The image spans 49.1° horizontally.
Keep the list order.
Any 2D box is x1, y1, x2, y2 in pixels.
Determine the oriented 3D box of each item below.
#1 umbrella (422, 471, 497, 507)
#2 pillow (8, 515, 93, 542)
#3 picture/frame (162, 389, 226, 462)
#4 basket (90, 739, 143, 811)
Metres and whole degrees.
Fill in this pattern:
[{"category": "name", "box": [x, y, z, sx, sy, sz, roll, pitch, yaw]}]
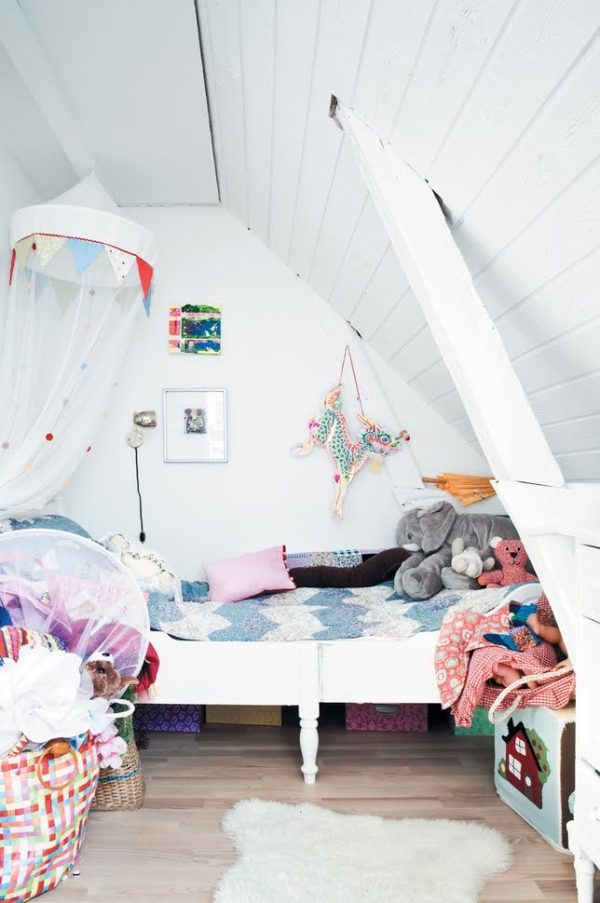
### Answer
[{"category": "umbrella", "box": [0.790, 0.171, 3.194, 0.237, 0.073, 0.170, -3, 12, -40]}, {"category": "pillow", "box": [-0.799, 0.239, 2.069, 0.183, 0.046, 0.204, 7, -9, 6]}, {"category": "picture/frame", "box": [-0.538, -0.119, 3.218, 0.337, 0.418, 0.016, -1, -2, -3]}, {"category": "basket", "box": [-0.461, 0.864, 1.755, 0.111, 0.165, 0.169, 0, -14, -5]}]
